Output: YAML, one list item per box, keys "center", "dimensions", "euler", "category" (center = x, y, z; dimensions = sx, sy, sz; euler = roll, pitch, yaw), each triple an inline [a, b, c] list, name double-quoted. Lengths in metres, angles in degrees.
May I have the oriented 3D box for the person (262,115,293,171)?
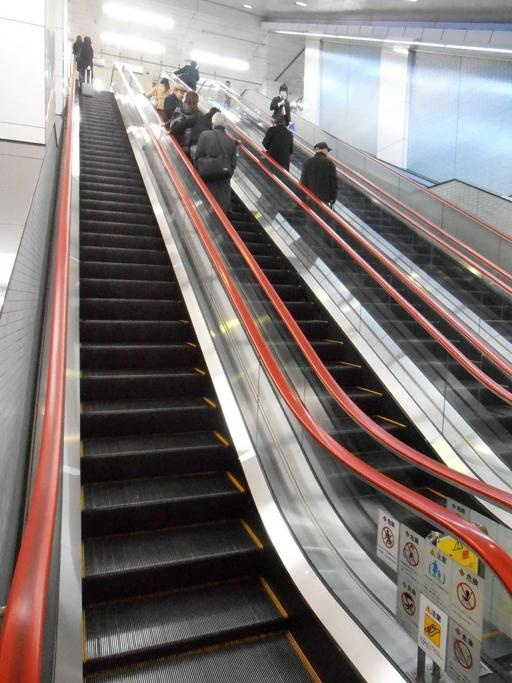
- center: [0.327, -3.073, 6.901]
  dimensions: [0.466, 0.835, 0.905]
  euler: [3, 16, 2]
  category: "person"

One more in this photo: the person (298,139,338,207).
- center: [0.832, -2.221, 5.942]
  dimensions: [0.487, 0.815, 0.499]
  euler: [4, 15, 7]
  category: "person"

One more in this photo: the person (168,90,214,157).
- center: [-0.995, -3.265, 6.808]
  dimensions: [0.489, 1.195, 0.393]
  euler: [-30, 63, -30]
  category: "person"

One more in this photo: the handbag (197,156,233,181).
- center: [-0.493, -2.007, 5.221]
  dimensions: [0.399, 0.301, 0.232]
  euler: [1, 49, -3]
  category: "handbag"

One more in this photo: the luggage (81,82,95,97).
- center: [-3.882, -5.839, 10.433]
  dimensions: [0.247, 0.366, 0.610]
  euler: [-1, 17, -14]
  category: "luggage"
